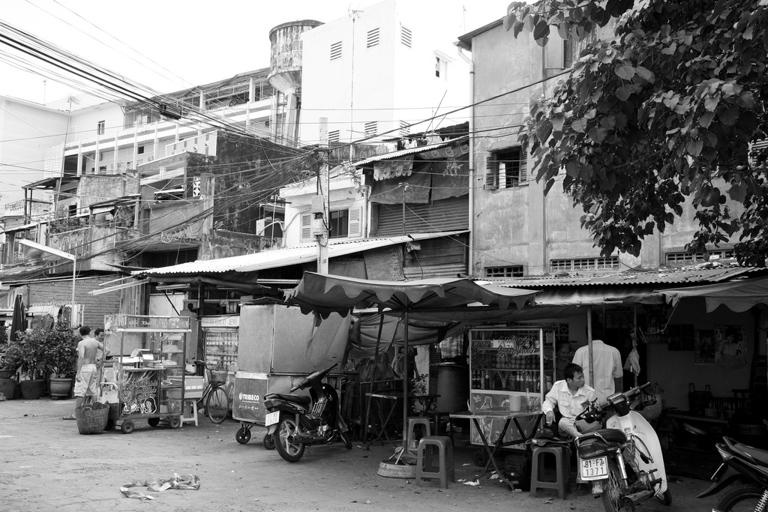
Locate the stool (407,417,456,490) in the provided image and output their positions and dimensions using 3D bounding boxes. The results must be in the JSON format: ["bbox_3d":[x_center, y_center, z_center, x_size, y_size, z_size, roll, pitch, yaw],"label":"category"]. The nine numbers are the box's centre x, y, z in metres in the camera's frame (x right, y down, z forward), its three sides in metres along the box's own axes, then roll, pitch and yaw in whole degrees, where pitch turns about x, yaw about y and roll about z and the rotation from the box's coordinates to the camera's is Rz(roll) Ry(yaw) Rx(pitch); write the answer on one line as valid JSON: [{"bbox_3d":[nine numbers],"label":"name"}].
[{"bbox_3d":[0.853,3.632,15.302,0.763,1.182,0.780,-2,-6,21],"label":"stool"}]

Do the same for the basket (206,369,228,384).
[{"bbox_3d":[-4.266,3.082,21.105,0.451,0.241,0.310,-1,-5,13],"label":"basket"}]

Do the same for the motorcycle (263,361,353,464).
[{"bbox_3d":[-1.597,3.239,16.760,2.497,1.501,0.852,5,-7,-39],"label":"motorcycle"}]

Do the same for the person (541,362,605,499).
[{"bbox_3d":[3.302,3.053,14.698,0.881,2.150,0.839,-1,-3,26],"label":"person"}]

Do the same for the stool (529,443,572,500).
[{"bbox_3d":[3.012,3.768,14.749,0.809,1.091,0.830,-1,-2,33],"label":"stool"}]

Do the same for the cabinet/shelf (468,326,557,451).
[{"bbox_3d":[2.582,2.634,16.272,2.096,3.574,1.152,-7,-13,37],"label":"cabinet/shelf"}]

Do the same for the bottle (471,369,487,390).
[{"bbox_3d":[1.951,2.530,17.052,0.285,0.411,0.106,-1,-1,25],"label":"bottle"}]

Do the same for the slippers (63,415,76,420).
[{"bbox_3d":[-7.898,4.016,20.696,0.292,0.123,0.159,3,-14,14],"label":"slippers"}]

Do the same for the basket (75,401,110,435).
[{"bbox_3d":[-6.625,3.639,18.870,0.597,0.875,0.902,-8,-12,30],"label":"basket"}]

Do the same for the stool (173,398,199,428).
[{"bbox_3d":[-4.805,3.865,20.337,0.562,0.798,0.598,9,-21,-28],"label":"stool"}]

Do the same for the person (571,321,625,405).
[{"bbox_3d":[4.289,2.138,16.431,0.891,1.716,0.862,-3,-3,11],"label":"person"}]

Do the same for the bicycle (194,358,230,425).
[{"bbox_3d":[-4.388,3.486,21.062,1.302,1.626,0.815,7,-4,-7],"label":"bicycle"}]

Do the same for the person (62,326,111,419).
[{"bbox_3d":[-6.903,2.667,19.339,0.591,2.102,1.130,4,-10,-19],"label":"person"}]

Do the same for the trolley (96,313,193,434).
[{"bbox_3d":[-5.773,2.810,19.884,1.905,2.795,2.090,5,-11,-24],"label":"trolley"}]
